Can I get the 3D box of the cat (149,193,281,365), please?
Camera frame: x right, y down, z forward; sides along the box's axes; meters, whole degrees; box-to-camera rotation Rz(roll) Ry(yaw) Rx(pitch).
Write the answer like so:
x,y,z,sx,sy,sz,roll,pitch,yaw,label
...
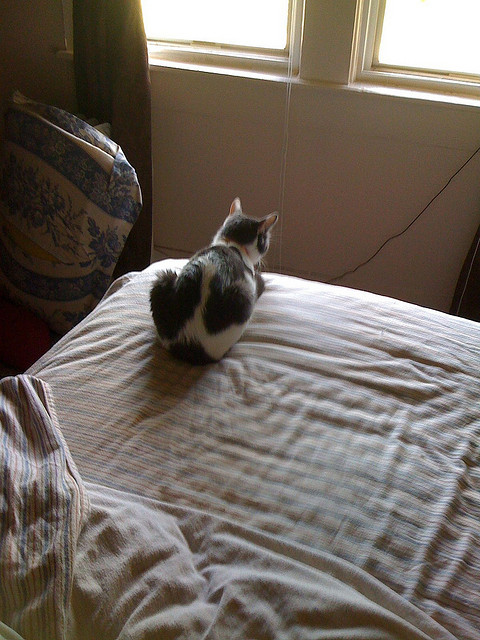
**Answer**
x,y,z,sx,sy,sz,roll,pitch,yaw,label
-0.046,-0.088,1.178,0.221,0.235,0.443,14,34,16,cat
